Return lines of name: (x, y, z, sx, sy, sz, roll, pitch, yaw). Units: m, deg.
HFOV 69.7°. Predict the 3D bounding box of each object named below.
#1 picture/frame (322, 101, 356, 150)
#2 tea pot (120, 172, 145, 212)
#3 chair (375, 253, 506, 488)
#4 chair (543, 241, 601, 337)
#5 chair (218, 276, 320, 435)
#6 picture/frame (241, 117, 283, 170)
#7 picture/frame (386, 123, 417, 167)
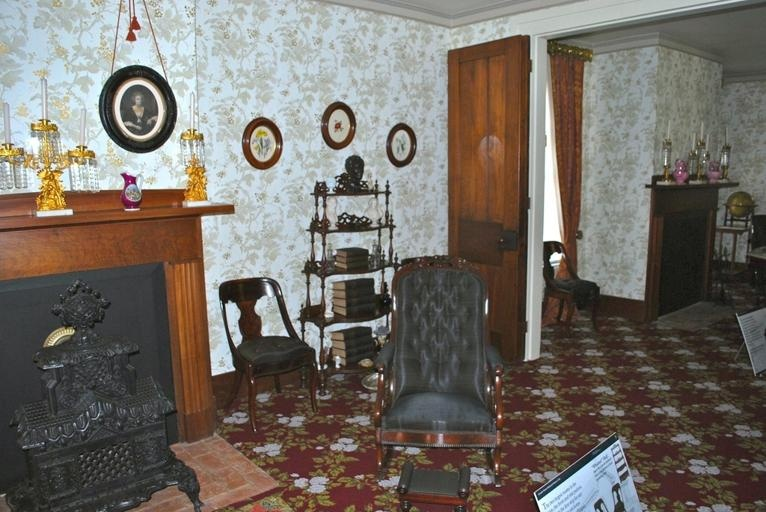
picture/frame: (-0.456, -1.385, 5.834, 0.491, 0.489, 0.040, 14, 17, 40)
tea pot: (-2.032, -0.532, 4.440, 0.171, 0.298, 0.199, 15, 17, 26)
chair: (0.471, 0.905, 4.507, 0.988, 1.723, 0.837, -2, 9, 7)
chair: (2.439, 0.378, 7.217, 0.666, 1.071, 0.722, -6, 10, -29)
chair: (-1.082, 0.881, 5.271, 0.779, 1.325, 0.718, -7, 10, -27)
picture/frame: (-1.172, -1.104, 5.420, 0.502, 0.504, 0.043, 6, 13, 29)
picture/frame: (0.211, -1.264, 6.277, 0.027, 0.481, 0.499, 13, 11, 37)
